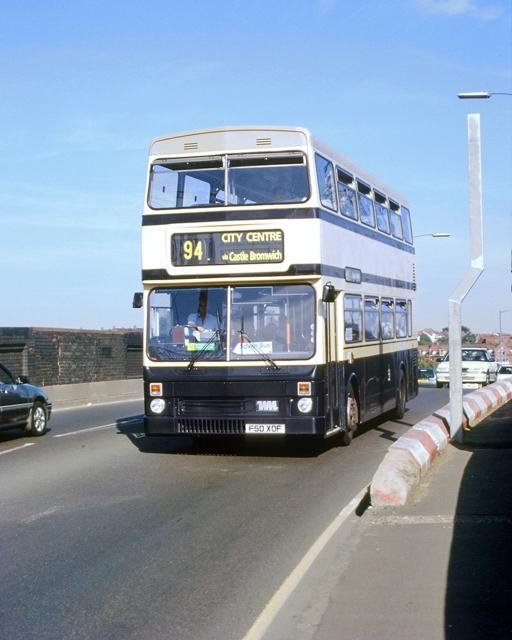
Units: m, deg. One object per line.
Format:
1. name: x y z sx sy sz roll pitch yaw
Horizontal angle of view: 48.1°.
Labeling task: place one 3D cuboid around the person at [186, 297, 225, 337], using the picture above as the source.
1. person: -0.906 0.044 9.783 0.526 0.890 0.412 -3 13 -16

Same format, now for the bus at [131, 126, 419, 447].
1. bus: 1.735 -0.654 14.334 3.134 5.932 10.740 -2 -1 24
